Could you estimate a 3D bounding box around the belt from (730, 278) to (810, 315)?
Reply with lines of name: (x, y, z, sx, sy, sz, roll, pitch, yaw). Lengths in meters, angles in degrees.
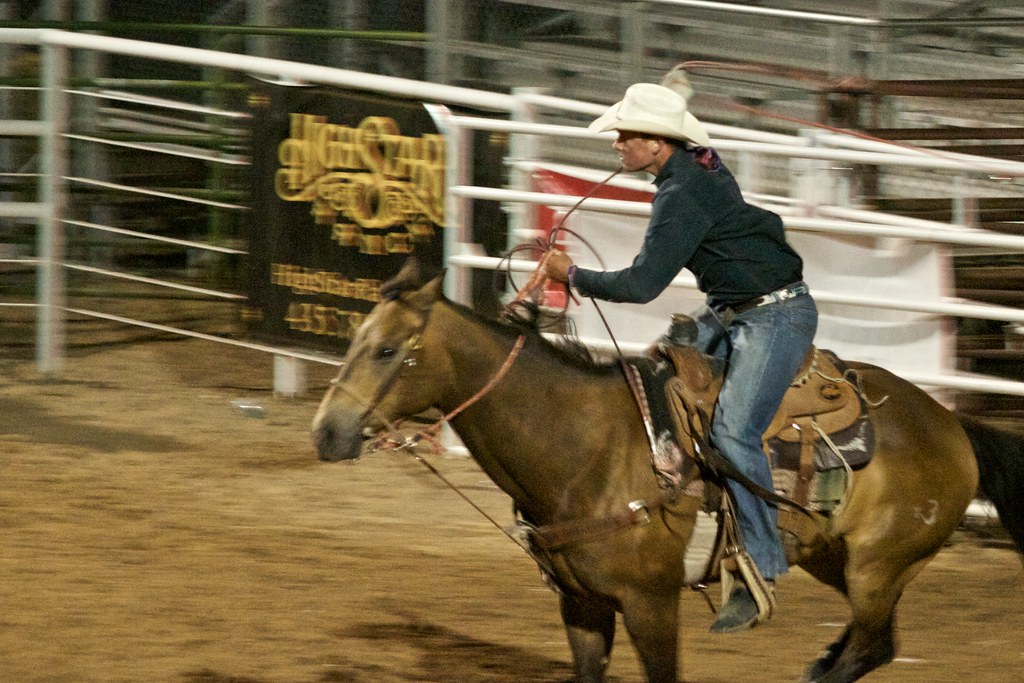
belt: (1.453, -0.249, 11.570, 0.274, 0.049, 0.255, -13, 2, 41)

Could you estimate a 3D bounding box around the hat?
hat: (0.770, -1.269, 11.499, 0.597, 0.173, 0.384, 8, 17, -7)

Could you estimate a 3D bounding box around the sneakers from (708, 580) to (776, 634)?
sneakers: (1.285, 1.512, 11.531, 0.600, 0.194, 0.185, -3, 11, -42)
